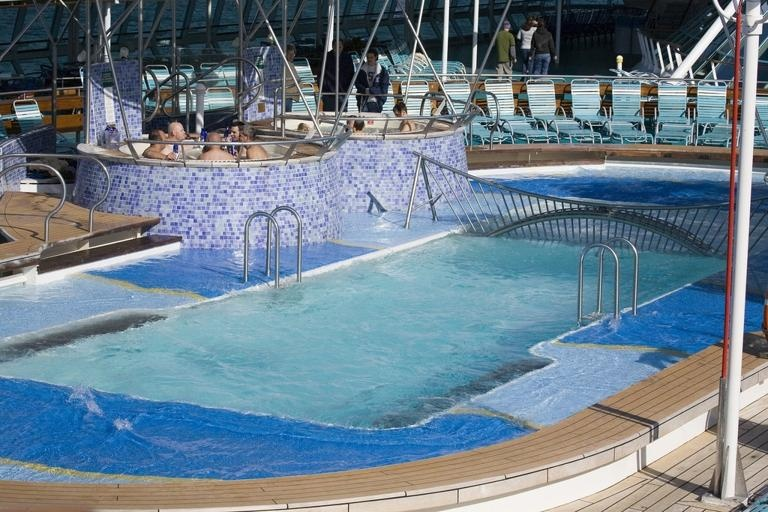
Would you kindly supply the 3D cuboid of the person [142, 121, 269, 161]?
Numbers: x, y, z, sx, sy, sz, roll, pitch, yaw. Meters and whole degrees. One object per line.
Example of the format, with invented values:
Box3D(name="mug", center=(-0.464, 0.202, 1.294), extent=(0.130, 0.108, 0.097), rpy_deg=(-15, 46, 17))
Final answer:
Box3D(name="person", center=(-2.348, -1.424, 8.862), extent=(1.458, 0.298, 0.841), rpy_deg=(1, 9, 4))
